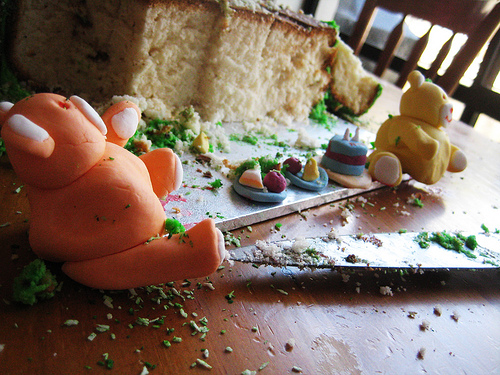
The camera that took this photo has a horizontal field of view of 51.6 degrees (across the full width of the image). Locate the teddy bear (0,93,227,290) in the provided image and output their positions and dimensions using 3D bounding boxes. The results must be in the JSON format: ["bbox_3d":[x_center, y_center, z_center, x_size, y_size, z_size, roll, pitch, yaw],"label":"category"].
[{"bbox_3d":[-0.480,0.081,1.928,0.567,0.788,0.766,-8,27,-14],"label":"teddy bear"}]

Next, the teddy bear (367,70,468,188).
[{"bbox_3d":[0.817,-0.273,2.513,0.468,0.606,0.368,5,9,-37],"label":"teddy bear"}]

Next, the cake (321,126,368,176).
[{"bbox_3d":[0.470,-0.184,2.481,0.204,0.253,0.219,16,11,19],"label":"cake"}]

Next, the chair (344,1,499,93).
[{"bbox_3d":[1.264,-1.002,3.667,0.487,0.564,0.810,37,23,14],"label":"chair"}]

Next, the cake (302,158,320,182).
[{"bbox_3d":[0.275,-0.078,2.312,0.071,0.102,0.085,-2,21,2],"label":"cake"}]
